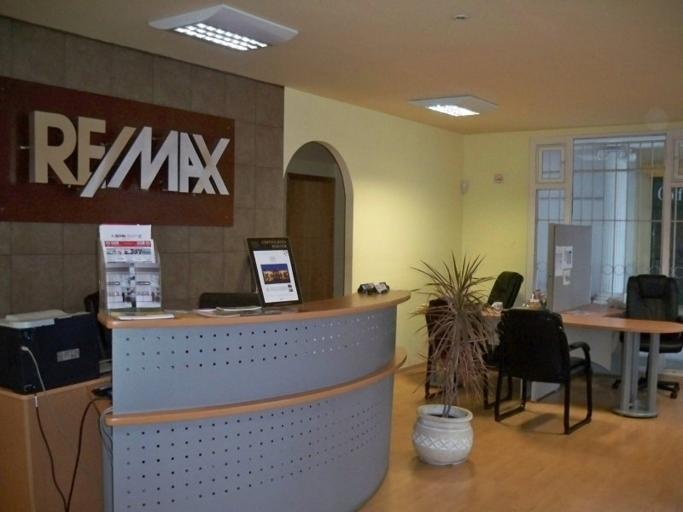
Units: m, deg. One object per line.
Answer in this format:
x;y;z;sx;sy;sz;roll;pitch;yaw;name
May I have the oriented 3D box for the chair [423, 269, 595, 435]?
1.862;0.965;6.440;1.446;2.583;1.634;2;3;45;chair
